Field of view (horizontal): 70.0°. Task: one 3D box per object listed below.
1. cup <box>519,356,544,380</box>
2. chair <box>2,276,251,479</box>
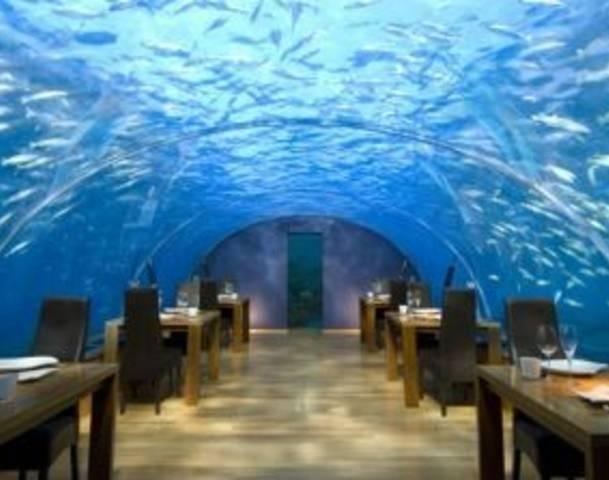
[{"bbox_3d":[1.219,0.693,2.361,0.116,0.102,0.139,-3,-10,12],"label":"cup"},{"bbox_3d":[-1.741,1.132,4.914,1.299,2.175,1.306,0,-2,-5],"label":"chair"}]
